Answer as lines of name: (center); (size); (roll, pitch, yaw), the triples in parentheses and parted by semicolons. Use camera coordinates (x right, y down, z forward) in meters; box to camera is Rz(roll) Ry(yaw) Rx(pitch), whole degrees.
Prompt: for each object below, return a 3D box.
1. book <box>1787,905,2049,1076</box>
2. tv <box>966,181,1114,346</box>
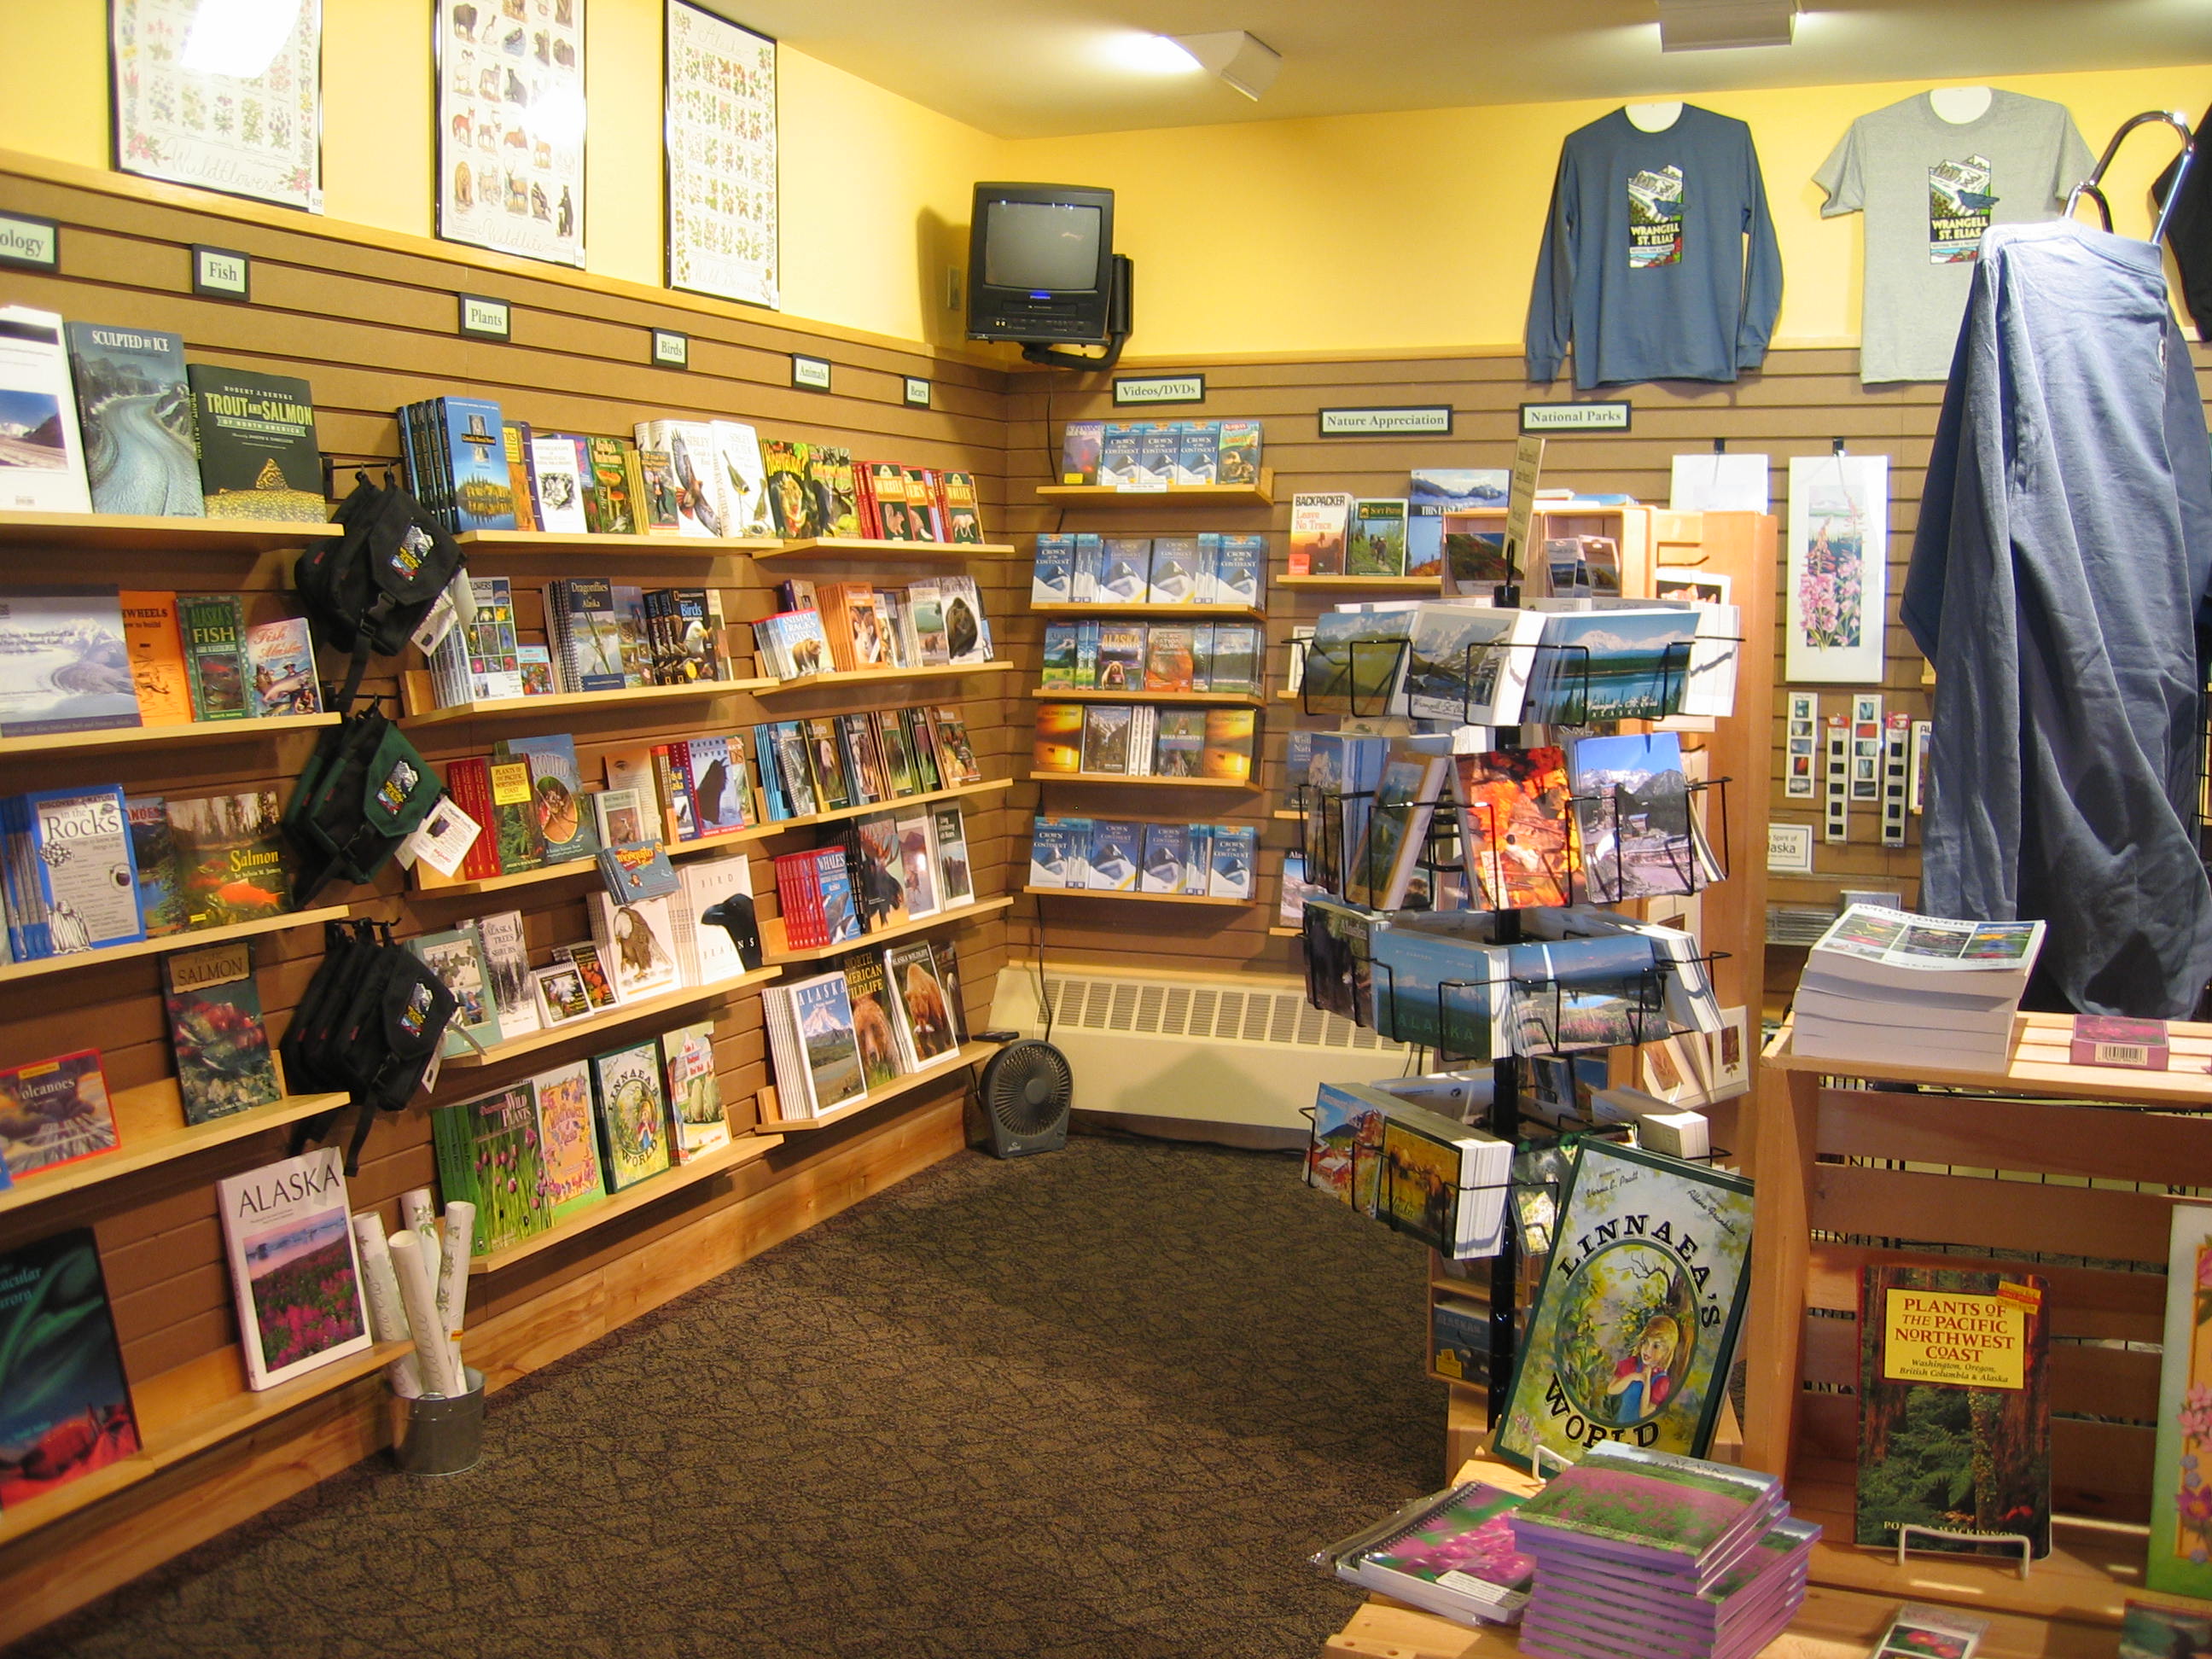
book: (1.223, 0.232, 2.370); (0.330, 0.198, 0.298); (5, 14, 23)
tv: (-0.284, -2.313, 6.708); (0.707, 0.742, 0.606); (0, 6, -11)
